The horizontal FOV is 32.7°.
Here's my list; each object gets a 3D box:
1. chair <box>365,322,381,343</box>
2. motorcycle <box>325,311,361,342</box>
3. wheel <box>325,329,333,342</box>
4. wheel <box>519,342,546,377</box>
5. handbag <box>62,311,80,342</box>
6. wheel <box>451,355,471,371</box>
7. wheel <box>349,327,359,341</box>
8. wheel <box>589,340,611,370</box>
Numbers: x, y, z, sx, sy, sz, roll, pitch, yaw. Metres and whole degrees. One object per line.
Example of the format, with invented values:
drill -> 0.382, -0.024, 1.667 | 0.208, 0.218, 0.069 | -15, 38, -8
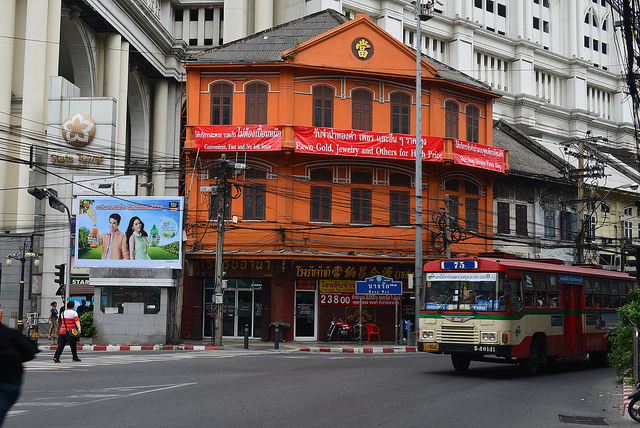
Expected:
chair -> 3.399, 8.043, 73.490 | 1.212, 1.596, 1.153 | 2, -9, -12
motorcycle -> 1.577, 7.628, 72.570 | 2.604, 1.514, 1.367 | 3, -6, -18
wheel -> 0.622, 8.138, 72.274 | 0.164, 0.663, 0.662 | 32, 37, 24
wheel -> 10.840, 7.461, 56.011 | 0.555, 1.607, 1.607 | -4, -14, 40
handbag -> -13.498, 6.140, 59.349 | 0.887, 1.557, 0.451 | 1, -10, -12
wheel -> 7.381, 7.817, 56.989 | 0.882, 0.886, 0.818 | 1, 1, 0
wheel -> 2.294, 8.014, 72.646 | 0.597, 0.846, 0.445 | 2, -10, -17
wheel -> 15.313, 7.733, 59.774 | 0.650, 1.726, 1.718 | 3, 24, 34
